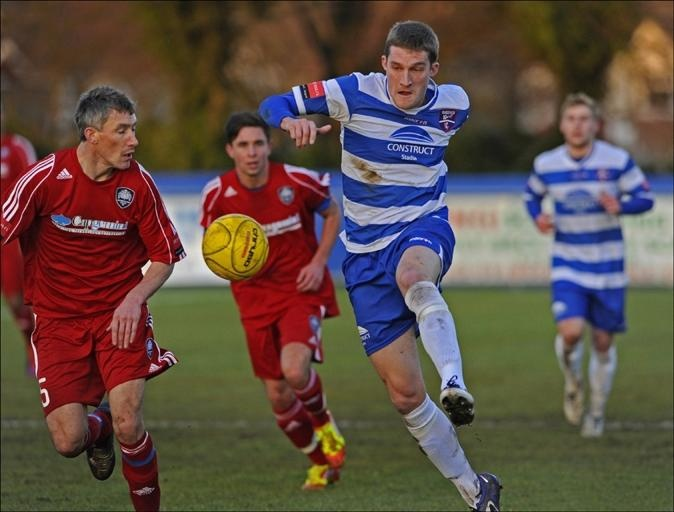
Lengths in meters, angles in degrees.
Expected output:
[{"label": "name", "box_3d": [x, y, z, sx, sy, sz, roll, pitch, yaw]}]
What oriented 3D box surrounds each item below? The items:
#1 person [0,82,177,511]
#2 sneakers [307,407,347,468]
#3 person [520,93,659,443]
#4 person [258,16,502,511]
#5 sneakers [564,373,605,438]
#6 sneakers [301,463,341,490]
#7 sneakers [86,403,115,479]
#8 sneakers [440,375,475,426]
[{"label": "person", "box_3d": [-1.695, 0.384, 7.238, 1.182, 3.137, 0.585, -3, 9, -9]}, {"label": "sneakers", "box_3d": [-0.040, 1.474, 8.043, 0.230, 0.148, 0.474, -29, 40, -1]}, {"label": "person", "box_3d": [2.119, -0.020, 8.520, 1.031, 2.636, 1.470, 0, 9, 14]}, {"label": "person", "box_3d": [0.434, 0.079, 7.235, 1.440, 3.405, 1.078, 5, 12, 37]}, {"label": "sneakers", "box_3d": [1.891, 1.185, 7.875, 0.265, 0.500, 0.149, -2, -28, -13]}, {"label": "sneakers", "box_3d": [-0.123, 1.724, 7.893, 0.207, 0.202, 0.093, 26, -23, -23]}, {"label": "sneakers", "box_3d": [-1.722, 1.391, 7.587, 0.198, 0.586, 0.255, -4, 18, 6]}, {"label": "sneakers", "box_3d": [0.792, 0.951, 6.597, 0.166, 0.356, 0.160, -18, 32, 16]}]
